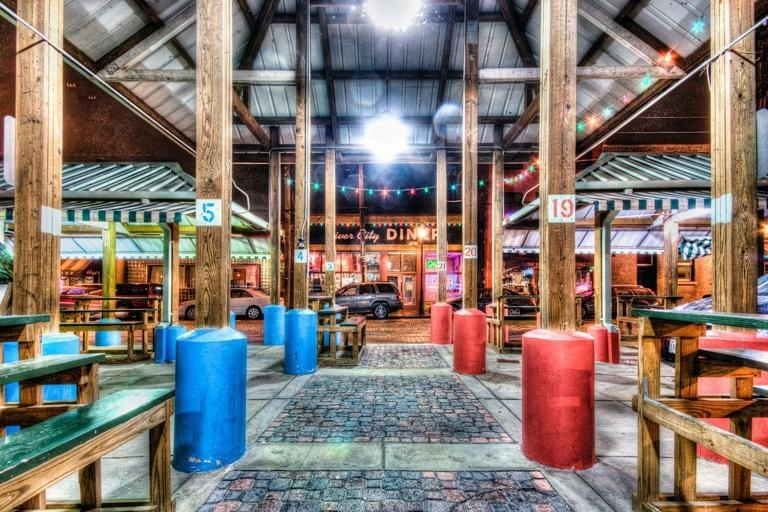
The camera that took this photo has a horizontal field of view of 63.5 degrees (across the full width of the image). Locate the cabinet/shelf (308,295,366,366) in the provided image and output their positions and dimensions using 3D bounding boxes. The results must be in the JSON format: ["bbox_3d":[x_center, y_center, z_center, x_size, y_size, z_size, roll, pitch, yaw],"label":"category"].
[{"bbox_3d":[-1.159,1.927,15.400,1.362,0.983,1.930,1,-2,1],"label":"cabinet/shelf"}]

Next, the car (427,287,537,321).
[{"bbox_3d":[3.649,1.390,21.952,3.398,1.096,1.403,5,-8,1],"label":"car"}]

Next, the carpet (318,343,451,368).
[{"bbox_3d":[0.452,2.443,15.376,2.112,0.370,2.781,-3,-4,1],"label":"carpet"}]
